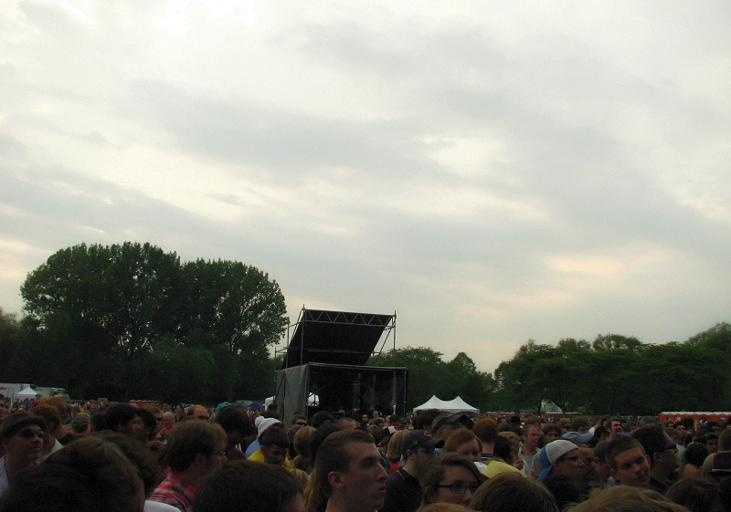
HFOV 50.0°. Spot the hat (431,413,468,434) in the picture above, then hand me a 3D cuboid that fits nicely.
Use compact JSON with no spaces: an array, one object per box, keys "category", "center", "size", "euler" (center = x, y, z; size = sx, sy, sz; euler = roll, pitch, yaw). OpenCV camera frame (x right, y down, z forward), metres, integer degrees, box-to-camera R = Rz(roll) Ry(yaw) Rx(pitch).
[{"category":"hat","center":[1.177,2.296,10.802],"size":[0.393,0.160,0.262],"euler":[-21,-14,31]}]

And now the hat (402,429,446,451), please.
[{"category":"hat","center":[0.661,2.158,9.181],"size":[0.362,0.184,0.239],"euler":[-5,-10,16]}]
